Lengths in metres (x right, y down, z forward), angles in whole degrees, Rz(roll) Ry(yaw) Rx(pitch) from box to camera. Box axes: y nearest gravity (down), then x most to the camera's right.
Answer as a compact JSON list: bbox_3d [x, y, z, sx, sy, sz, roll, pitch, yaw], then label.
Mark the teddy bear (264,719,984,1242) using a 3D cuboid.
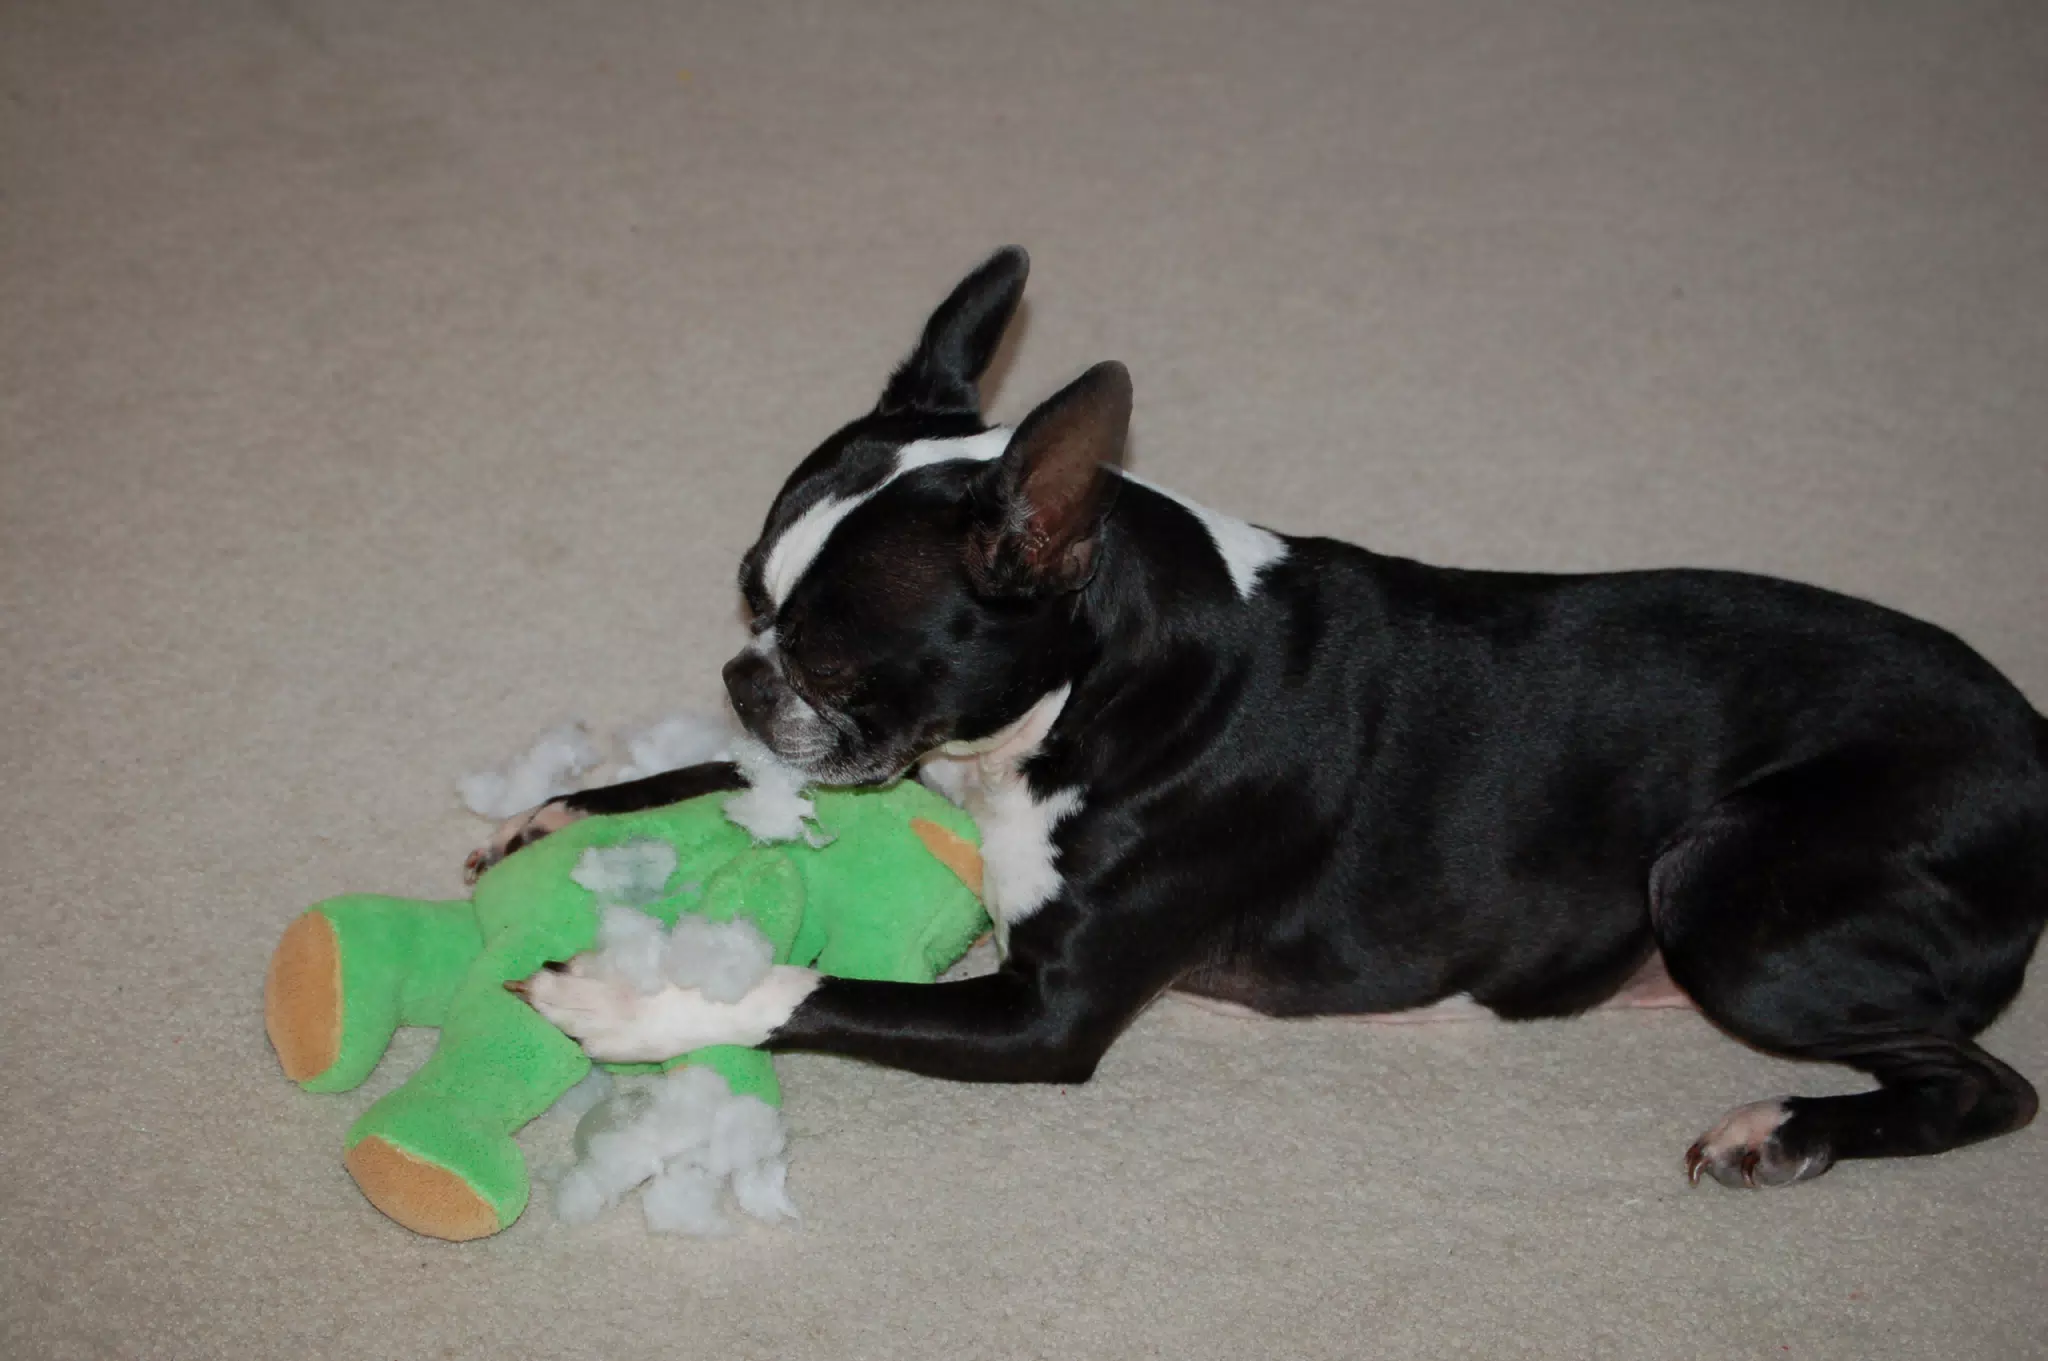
[{"bbox_3d":[-0.768,0.598,3.867,1.197,0.306,1.078,-15,50,-23],"label":"teddy bear"}]
